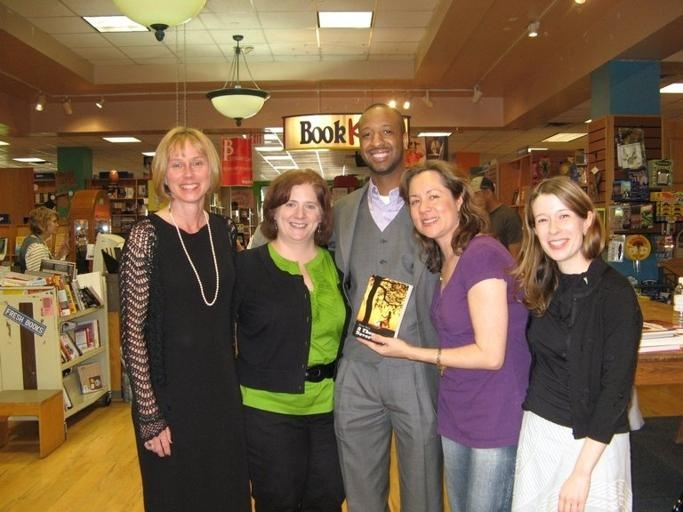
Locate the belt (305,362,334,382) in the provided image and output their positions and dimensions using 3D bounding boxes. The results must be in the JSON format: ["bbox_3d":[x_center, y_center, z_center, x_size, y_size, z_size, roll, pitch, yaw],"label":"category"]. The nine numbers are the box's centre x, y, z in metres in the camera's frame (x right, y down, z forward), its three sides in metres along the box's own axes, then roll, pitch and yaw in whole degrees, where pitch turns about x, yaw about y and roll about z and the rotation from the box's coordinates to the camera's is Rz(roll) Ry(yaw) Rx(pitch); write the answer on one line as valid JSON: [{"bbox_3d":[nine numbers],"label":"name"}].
[{"bbox_3d":[-0.119,0.695,3.265,0.104,0.069,0.140,-2,0,43],"label":"belt"}]

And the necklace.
[{"bbox_3d":[-0.842,-0.027,3.172,0.198,0.039,0.729,2,45,-28],"label":"necklace"}]

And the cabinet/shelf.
[{"bbox_3d":[-5.304,-1.160,11.751,1.753,1.688,0.622,-1,-6,8],"label":"cabinet/shelf"}]

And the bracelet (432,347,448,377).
[{"bbox_3d":[0.545,0.593,2.997,0.045,0.155,0.128,-3,9,18],"label":"bracelet"}]

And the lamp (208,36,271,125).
[{"bbox_3d":[-1.444,-2.491,7.509,0.846,1.255,0.864,1,4,35],"label":"lamp"}]

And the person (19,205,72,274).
[{"bbox_3d":[-4.083,-0.095,7.424,0.617,1.205,0.693,2,14,-22],"label":"person"}]

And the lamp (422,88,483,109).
[{"bbox_3d":[2.121,-3.144,10.529,1.068,0.265,1.073,-2,8,3],"label":"lamp"}]
